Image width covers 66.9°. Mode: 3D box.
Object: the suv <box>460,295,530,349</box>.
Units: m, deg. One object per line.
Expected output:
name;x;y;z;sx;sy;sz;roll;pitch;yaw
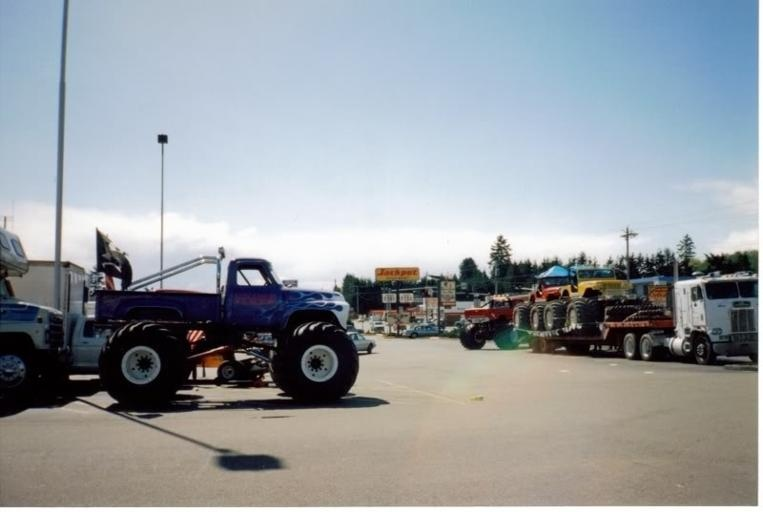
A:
suv;8.052;4.341;40.073;3.289;3.506;5.519;-10;-10;42

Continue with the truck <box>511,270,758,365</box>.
truck;11.294;2.880;26.374;2.868;3.013;10.780;2;-8;-15

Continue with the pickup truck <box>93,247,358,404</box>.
pickup truck;-3.975;1.903;15.824;6.385;4.116;3.870;0;-4;-7

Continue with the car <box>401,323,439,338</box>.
car;4.864;8.905;69.128;3.187;1.431;3.954;-2;-3;29
